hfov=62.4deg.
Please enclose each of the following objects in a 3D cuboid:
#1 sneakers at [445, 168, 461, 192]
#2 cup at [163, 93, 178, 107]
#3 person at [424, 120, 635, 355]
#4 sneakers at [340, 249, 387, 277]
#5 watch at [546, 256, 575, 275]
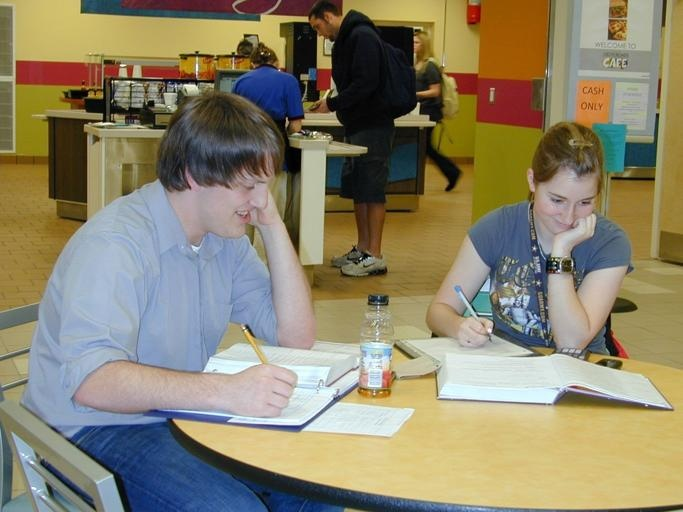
[{"bbox_3d":[2.115,-1.429,10.763,0.202,0.470,0.174,23,49,5],"label":"sneakers"},{"bbox_3d":[-1.698,-1.542,5.584,0.171,0.146,0.170,3,17,-1],"label":"cup"},{"bbox_3d":[0.688,-0.052,1.936,0.725,0.839,0.521,1,9,-6],"label":"person"},{"bbox_3d":[0.222,0.083,5.598,0.472,0.229,0.199,0,8,-8],"label":"sneakers"},{"bbox_3d":[0.746,0.032,1.926,0.076,0.054,0.082,2,-4,-22],"label":"watch"}]
